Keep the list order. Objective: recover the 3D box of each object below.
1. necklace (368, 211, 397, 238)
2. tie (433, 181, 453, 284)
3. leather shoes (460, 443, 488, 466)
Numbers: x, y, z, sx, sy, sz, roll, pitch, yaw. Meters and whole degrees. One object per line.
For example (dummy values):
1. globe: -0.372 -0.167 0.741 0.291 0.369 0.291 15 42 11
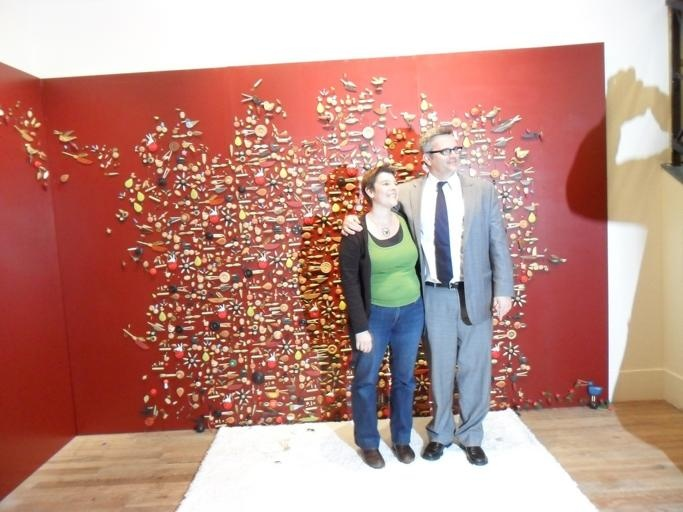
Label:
1. necklace: 0.269 -0.207 3.734 0.178 0.173 0.050 -3 2 -8
2. tie: 0.675 -0.152 3.753 0.119 0.690 0.084 -1 7 9
3. leather shoes: 0.902 1.350 3.810 0.073 0.077 0.173 -1 -4 -22
